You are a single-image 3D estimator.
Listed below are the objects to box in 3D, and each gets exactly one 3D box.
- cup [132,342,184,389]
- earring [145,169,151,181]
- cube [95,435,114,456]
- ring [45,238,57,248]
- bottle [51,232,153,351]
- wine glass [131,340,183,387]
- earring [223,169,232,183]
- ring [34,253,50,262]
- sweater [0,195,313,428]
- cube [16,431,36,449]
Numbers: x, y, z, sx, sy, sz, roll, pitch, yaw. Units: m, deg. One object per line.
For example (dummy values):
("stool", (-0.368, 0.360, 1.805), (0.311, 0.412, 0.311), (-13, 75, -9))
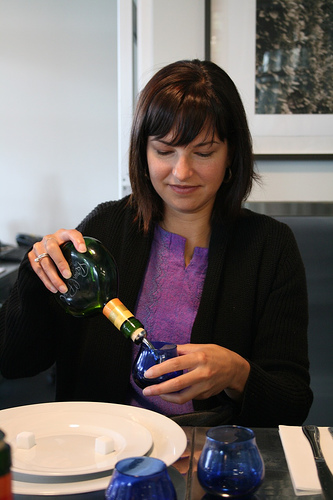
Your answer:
("cup", (-0.014, 0.150, 0.572), (0.063, 0.066, 0.068), (-3, -4, 0))
("earring", (-0.048, -0.184, 0.998), (0.005, 0.028, 0.017), (16, 21, 35))
("cube", (-0.065, 0.201, 0.423), (0.016, 0.014, 0.017), (-1, -19, 45))
("ring", (-0.190, -0.013, 0.661), (0.016, 0.009, 0.031), (4, 18, 2))
("bottle", (-0.085, 0.059, 0.623), (0.056, 0.093, 0.215), (2, 35, -48))
("wine glass", (-0.018, 0.168, 0.582), (0.066, 0.064, 0.063), (5, -4, 19))
("earring", (0.154, -0.187, 1.038), (0.006, 0.033, 0.027), (-5, 20, -26))
("ring", (-0.199, 0.010, 0.645), (0.016, 0.006, 0.014), (-15, 4, -26))
("sweater", (-0.012, 0.124, 1.056), (0.673, 0.715, 0.493), (1, -8, 5))
("cube", (-0.151, 0.203, 0.437), (0.016, 0.013, 0.016), (-2, -12, 8))
